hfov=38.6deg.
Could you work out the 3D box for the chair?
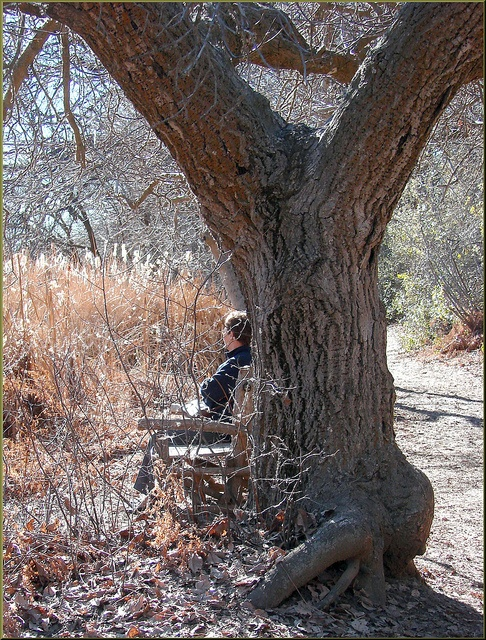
[{"bbox_3d":[-0.326,0.947,5.118,0.938,1.056,0.875,0,-4,-1],"label":"chair"}]
